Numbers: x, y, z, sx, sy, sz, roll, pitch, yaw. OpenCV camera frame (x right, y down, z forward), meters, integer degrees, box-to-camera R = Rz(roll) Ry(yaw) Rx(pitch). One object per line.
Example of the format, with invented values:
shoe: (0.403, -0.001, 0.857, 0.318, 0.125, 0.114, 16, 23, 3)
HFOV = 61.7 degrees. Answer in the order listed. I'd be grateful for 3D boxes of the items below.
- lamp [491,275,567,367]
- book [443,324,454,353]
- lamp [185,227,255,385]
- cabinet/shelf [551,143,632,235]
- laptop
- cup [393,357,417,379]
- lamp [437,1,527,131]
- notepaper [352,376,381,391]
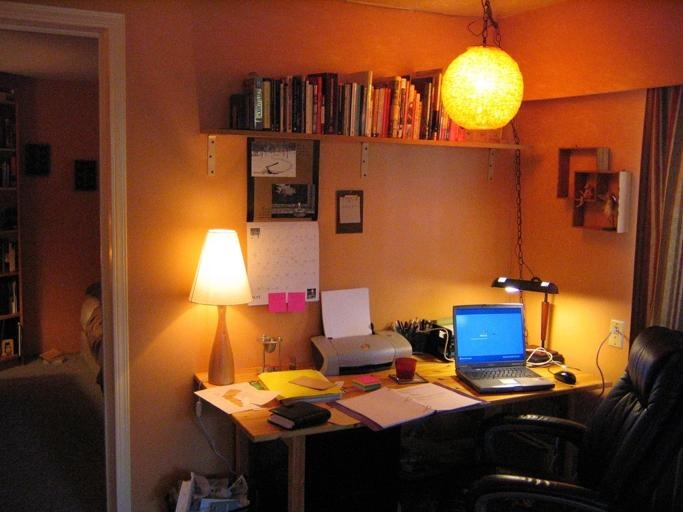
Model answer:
lamp: (1.182, 0.405, 3.511, 0.322, 0.508, 0.416, 2, -6, 36)
book: (0.634, 0.500, 3.369, 0.030, 0.115, 0.082, 7, -6, -41)
lamp: (-0.632, 0.259, 2.986, 0.299, 0.784, 0.285, -8, 15, -21)
cabinet/shelf: (1.464, -0.392, 3.336, 0.130, 0.477, 0.457, -9, 16, -27)
laptop: (0.857, 0.484, 3.075, 0.529, 0.376, 0.480, -1, 4, -29)
cup: (0.340, 0.597, 3.060, 0.095, 0.080, 0.107, 1, -1, 6)
lamp: (0.748, -0.906, 3.056, 0.419, 0.450, 0.201, 0, 14, 8)
notepaper: (0.138, 0.660, 2.975, 0.078, 0.026, 0.077, -2, 8, -26)
